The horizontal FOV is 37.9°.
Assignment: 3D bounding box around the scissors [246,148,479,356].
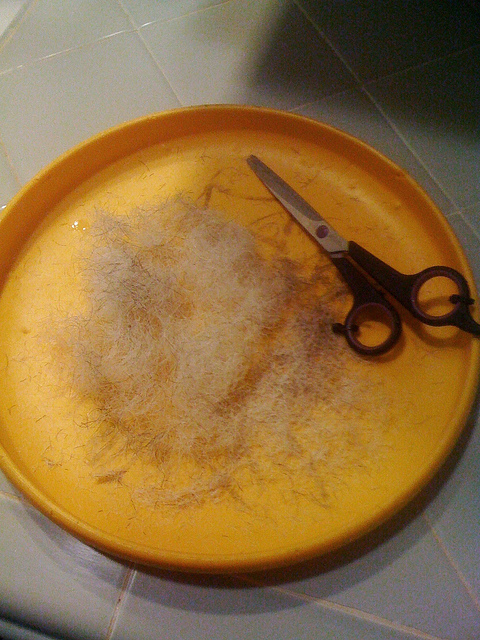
[{"bbox_3d":[0.140,-0.056,0.841,0.107,0.015,0.306,-49,65,7],"label":"scissors"}]
